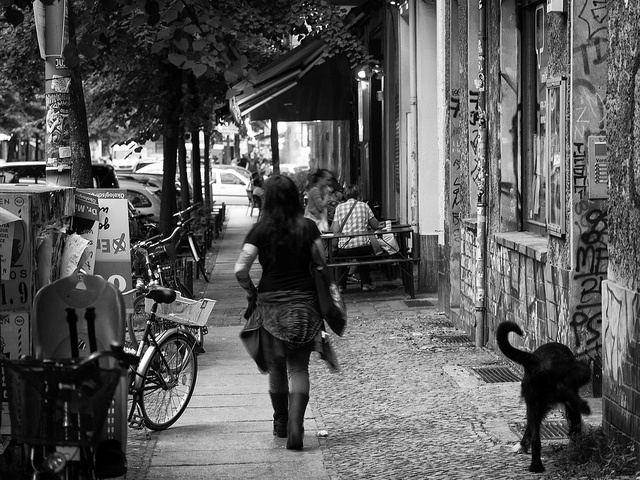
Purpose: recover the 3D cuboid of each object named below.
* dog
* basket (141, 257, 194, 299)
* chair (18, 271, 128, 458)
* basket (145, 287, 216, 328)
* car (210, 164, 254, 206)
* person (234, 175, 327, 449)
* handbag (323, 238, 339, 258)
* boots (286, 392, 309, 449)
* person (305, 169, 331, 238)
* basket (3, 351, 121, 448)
[{"bbox_3d":[1.552,1.089,5.660,0.683,0.935,0.641,0,5,27],"label":"dog"},{"bbox_3d":[-1.890,0.462,9.913,0.730,0.579,0.470,-3,9,1],"label":"basket"},{"bbox_3d":[-1.427,0.498,4.692,0.513,1.374,0.254,-1,0,1],"label":"chair"},{"bbox_3d":[-1.225,0.677,7.189,0.522,0.267,0.371,18,17,-25],"label":"basket"},{"bbox_3d":[-4.210,-2.510,37.952,2.370,1.424,1.467,-2,13,-4],"label":"car"},{"bbox_3d":[-0.298,0.549,6.409,0.642,2.111,0.512,0,4,22],"label":"person"},{"bbox_3d":[0.180,0.125,13.255,0.247,0.307,0.276,1,7,5],"label":"handbag"},{"bbox_3d":[-0.182,1.395,6.285,0.171,0.434,0.239,-2,4,-2],"label":"boots"},{"bbox_3d":[-0.018,-0.557,12.321,0.406,0.441,1.075,-15,-24,-8],"label":"person"},{"bbox_3d":[-1.378,0.868,4.351,0.551,0.497,0.501,3,5,12],"label":"basket"}]
